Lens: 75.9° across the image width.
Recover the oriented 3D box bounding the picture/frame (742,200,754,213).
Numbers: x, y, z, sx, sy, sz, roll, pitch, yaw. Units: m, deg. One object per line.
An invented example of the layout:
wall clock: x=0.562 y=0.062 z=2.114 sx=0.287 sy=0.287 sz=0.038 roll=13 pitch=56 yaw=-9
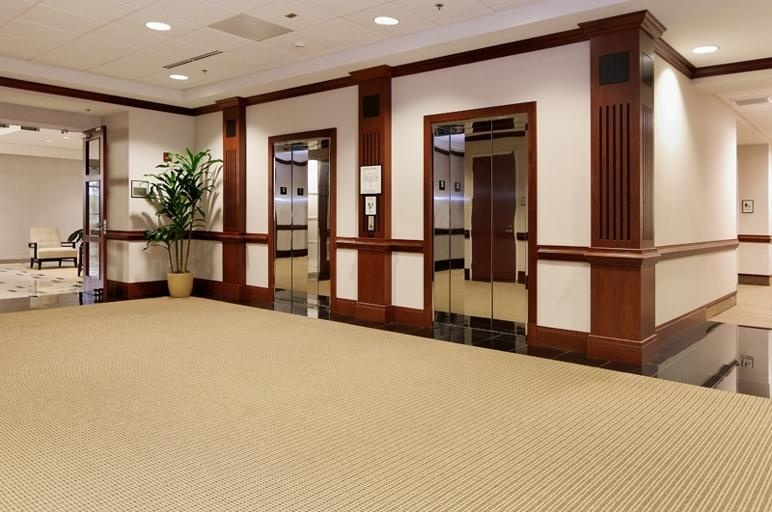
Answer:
picture/frame: x=9.499 y=-1.295 z=12.975 sx=0.331 sy=0.432 sz=0.032 roll=1 pitch=-1 yaw=43

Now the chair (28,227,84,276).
chair: x=-10.647 y=-0.201 z=15.778 sx=1.216 sy=1.248 sz=2.013 roll=-7 pitch=12 yaw=-36
